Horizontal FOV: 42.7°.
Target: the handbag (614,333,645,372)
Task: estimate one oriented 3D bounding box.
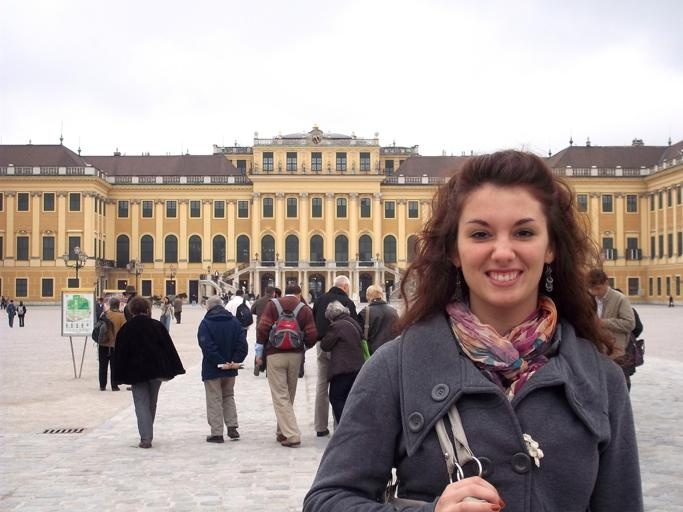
[{"bbox_3d":[2.964,0.922,8.754,0.349,0.370,0.206,12,-35,-31],"label":"handbag"}]

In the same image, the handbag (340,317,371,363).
[{"bbox_3d":[0.175,0.939,9.867,0.369,0.651,0.461,-4,-1,-1],"label":"handbag"}]

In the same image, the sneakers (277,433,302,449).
[{"bbox_3d":[-0.573,1.916,9.182,0.096,0.122,0.282,-4,12,-27],"label":"sneakers"}]

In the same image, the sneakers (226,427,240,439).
[{"bbox_3d":[-1.177,1.905,9.488,0.110,0.140,0.213,-10,0,-14],"label":"sneakers"}]

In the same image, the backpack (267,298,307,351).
[{"bbox_3d":[-0.586,0.759,9.746,0.393,0.551,0.321,2,4,11],"label":"backpack"}]

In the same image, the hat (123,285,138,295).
[{"bbox_3d":[-4.720,0.746,19.429,0.538,0.214,0.581,0,-3,-12],"label":"hat"}]
